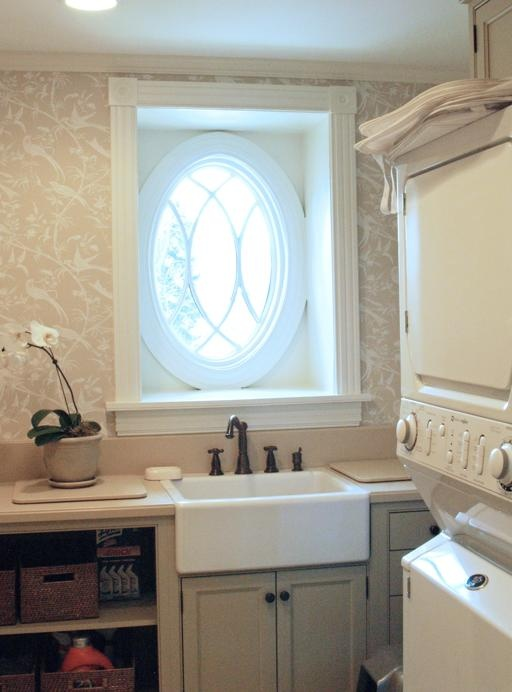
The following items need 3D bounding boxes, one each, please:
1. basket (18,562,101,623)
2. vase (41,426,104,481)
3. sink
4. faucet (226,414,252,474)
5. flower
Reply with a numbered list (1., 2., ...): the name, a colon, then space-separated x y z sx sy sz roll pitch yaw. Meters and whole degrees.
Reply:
1. basket: -0.590 0.754 1.851 0.189 0.115 0.180 0 -10 -12
2. vase: -0.617 0.378 2.077 0.214 0.150 0.212 0 -3 -27
3. sink: 0.014 0.576 2.070 0.615 0.238 0.447 2 -3 -12
4. faucet: -0.065 0.368 2.288 0.097 0.218 0.196 1 -3 -2
5. flower: -0.709 0.131 2.089 0.350 0.418 0.299 2 -3 -14
